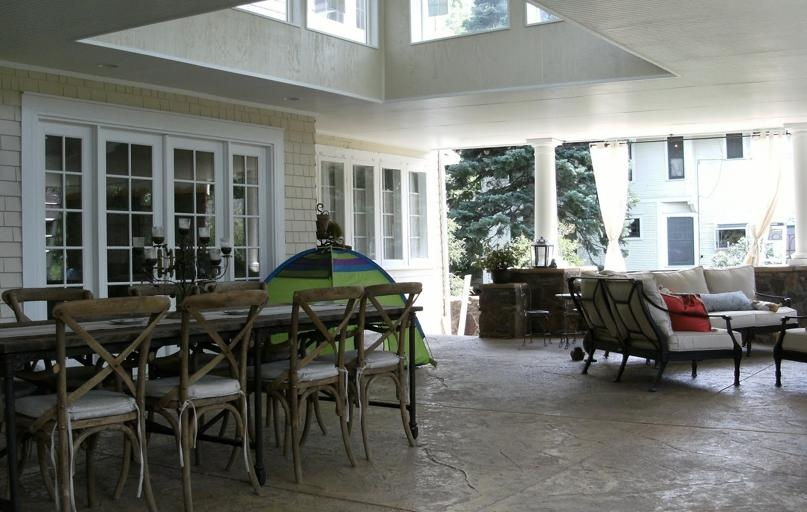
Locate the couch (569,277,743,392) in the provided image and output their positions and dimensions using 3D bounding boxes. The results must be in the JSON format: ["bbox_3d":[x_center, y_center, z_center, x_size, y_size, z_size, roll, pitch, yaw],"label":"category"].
[{"bbox_3d":[2.917,0.761,7.186,1.411,1.152,1.899,-1,1,-21],"label":"couch"}]

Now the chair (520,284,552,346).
[{"bbox_3d":[2.221,0.952,10.336,0.467,0.912,0.839,-1,3,11],"label":"chair"}]

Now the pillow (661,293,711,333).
[{"bbox_3d":[3.103,0.626,6.876,0.575,0.422,0.234,-2,3,-16],"label":"pillow"}]

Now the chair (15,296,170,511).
[{"bbox_3d":[-2.098,0.988,4.167,0.872,1.472,1.004,-3,3,-31],"label":"chair"}]

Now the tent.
[{"bbox_3d":[-0.808,0.635,7.962,1.803,1.109,1.816,1,3,38],"label":"tent"}]

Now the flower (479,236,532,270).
[{"bbox_3d":[1.790,-0.012,11.113,0.859,0.498,0.772,-3,8,-29],"label":"flower"}]

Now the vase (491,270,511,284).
[{"bbox_3d":[1.681,0.363,10.661,0.279,0.157,0.255,-1,-2,2],"label":"vase"}]

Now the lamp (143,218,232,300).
[{"bbox_3d":[-1.853,0.108,5.223,0.591,0.727,0.774,12,15,37],"label":"lamp"}]

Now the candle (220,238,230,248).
[{"bbox_3d":[-1.501,-0.110,5.194,0.093,0.083,0.084,1,4,-12],"label":"candle"}]
